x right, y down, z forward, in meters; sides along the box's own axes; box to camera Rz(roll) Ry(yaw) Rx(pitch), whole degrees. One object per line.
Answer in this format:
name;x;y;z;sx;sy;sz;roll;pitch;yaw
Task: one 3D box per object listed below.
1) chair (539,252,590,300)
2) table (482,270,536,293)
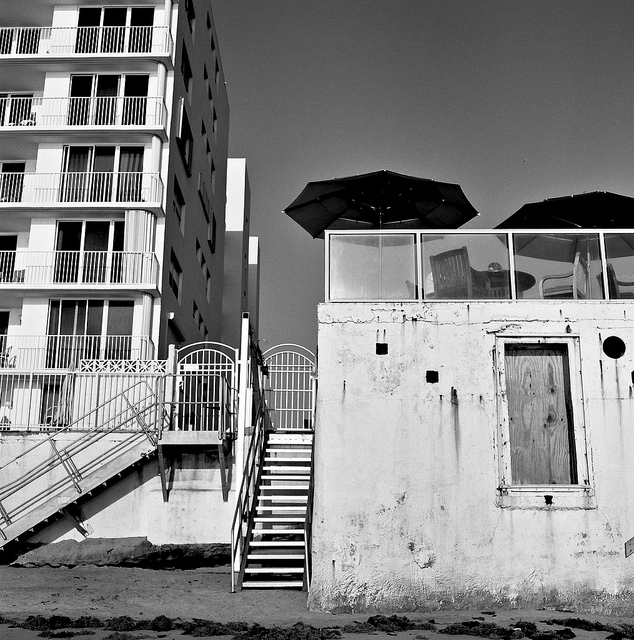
chair;3.545;-0.625;11.384;0.506;0.962;0.574;1;-6;11
table;2.752;-0.539;11.381;0.704;0.334;0.053;0;-8;6
